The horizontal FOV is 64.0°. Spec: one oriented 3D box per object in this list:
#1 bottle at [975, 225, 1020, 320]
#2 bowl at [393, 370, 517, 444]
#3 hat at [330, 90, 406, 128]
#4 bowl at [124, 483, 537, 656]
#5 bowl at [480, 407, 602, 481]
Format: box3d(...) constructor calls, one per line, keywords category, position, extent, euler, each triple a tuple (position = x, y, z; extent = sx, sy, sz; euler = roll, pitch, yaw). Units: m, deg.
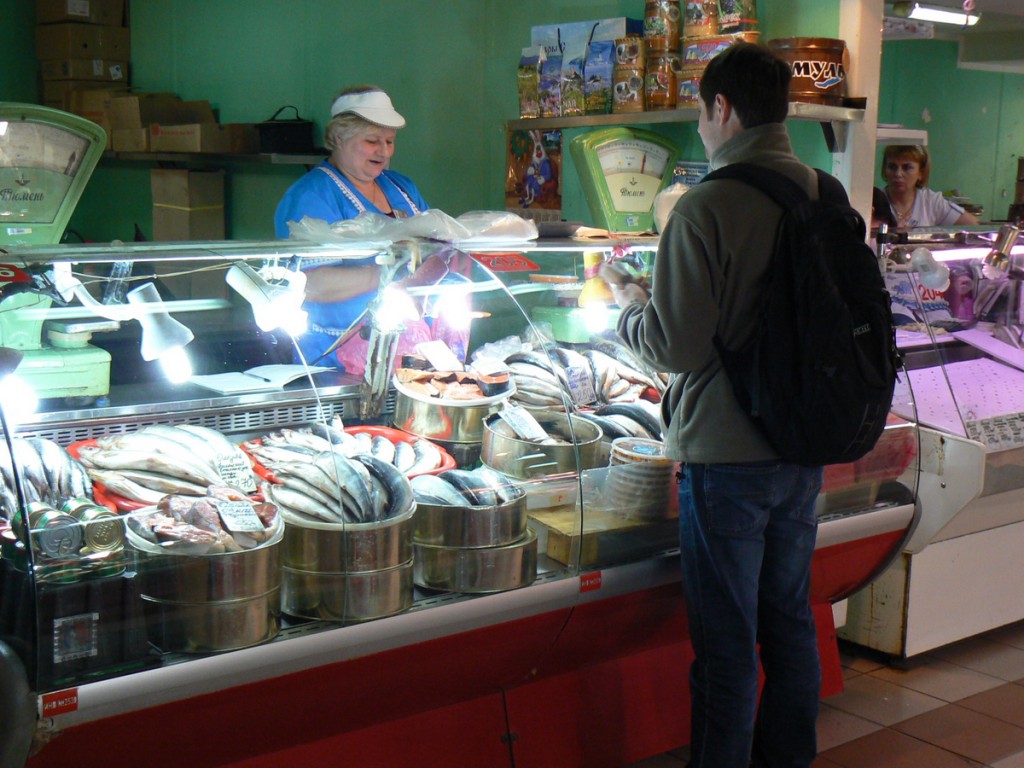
box3d(category="bottle", position=(2.042, -0.471, 3.465), extent=(0.127, 0.437, 0.123), euler=(-9, 55, 13))
box3d(category="bowl", position=(-0.157, 0.043, 2.147), extent=(0.238, 0.082, 0.228), euler=(2, 9, 0))
box3d(category="hat", position=(-0.530, -1.008, 2.985), extent=(0.215, 0.075, 0.155), euler=(17, 25, 26))
box3d(category="bowl", position=(-0.407, 0.381, 1.823), extent=(0.774, 0.343, 0.163), euler=(-11, 16, -28))
box3d(category="bowl", position=(0.002, 0.169, 2.172), extent=(0.244, 0.079, 0.241), euler=(11, 7, -1))
